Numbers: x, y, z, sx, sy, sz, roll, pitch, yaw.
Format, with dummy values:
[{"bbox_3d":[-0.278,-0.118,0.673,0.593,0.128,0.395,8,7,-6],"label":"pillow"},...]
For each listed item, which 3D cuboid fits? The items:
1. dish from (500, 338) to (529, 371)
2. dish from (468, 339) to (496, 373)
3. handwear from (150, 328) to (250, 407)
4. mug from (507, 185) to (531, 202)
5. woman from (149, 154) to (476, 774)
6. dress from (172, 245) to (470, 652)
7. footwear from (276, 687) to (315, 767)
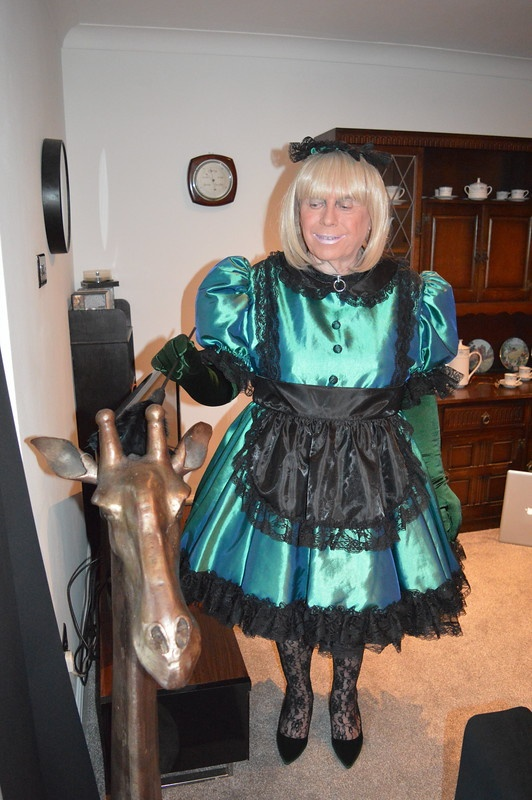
[{"bbox_3d":[1.298,-0.238,3.252,0.157,0.163,0.038,1,-4,-6],"label":"dish"},{"bbox_3d":[1.118,-0.229,3.228,0.160,0.160,0.027,-7,7,-28],"label":"dish"},{"bbox_3d":[-0.119,-0.053,1.194,0.075,0.109,0.190,32,8,22],"label":"handwear"},{"bbox_3d":[1.196,-0.955,2.930,0.086,0.086,0.134,-1,10,1],"label":"mug"},{"bbox_3d":[0.121,0.153,1.444,0.699,1.338,0.511,-4,18,-7],"label":"woman"},{"bbox_3d":[0.149,0.104,1.358,0.682,0.831,0.322,-2,12,-9],"label":"dress"},{"bbox_3d":[0.084,0.905,1.752,0.087,0.033,0.292,6,13,9],"label":"footwear"}]
